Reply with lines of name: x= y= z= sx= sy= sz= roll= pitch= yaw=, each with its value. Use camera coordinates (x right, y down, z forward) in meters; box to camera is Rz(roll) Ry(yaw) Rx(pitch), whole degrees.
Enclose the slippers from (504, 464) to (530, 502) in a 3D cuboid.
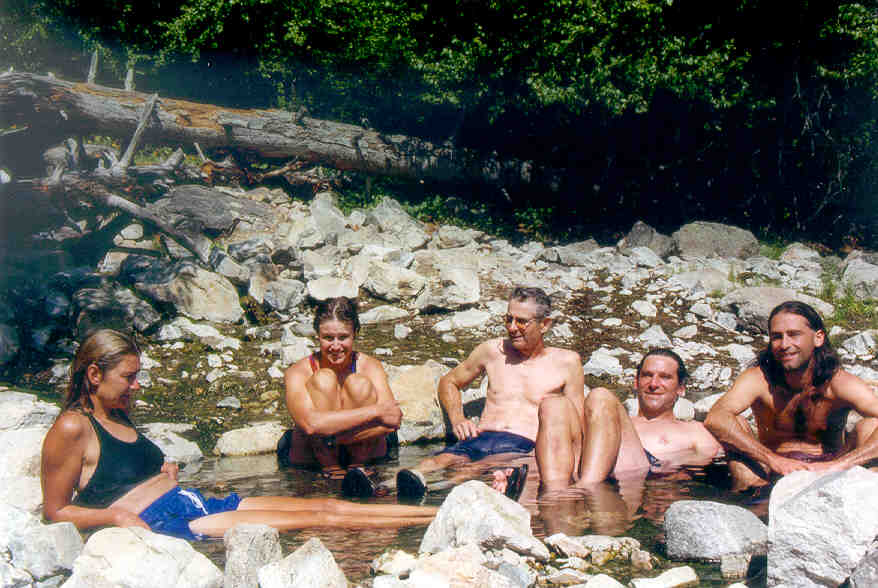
slippers: x=1.038 y=2.538 z=17.461 sx=0.237 sy=0.459 sz=0.137 roll=24 pitch=-13 yaw=-23
